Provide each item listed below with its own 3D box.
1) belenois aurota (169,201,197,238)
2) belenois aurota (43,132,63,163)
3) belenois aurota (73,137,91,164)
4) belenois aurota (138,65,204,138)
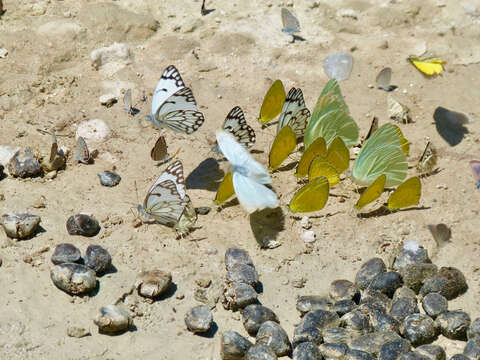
[{"bbox_3d":[-0.866,0.651,11.578,0.355,0.459,0.492,43,39,0],"label":"belenois aurota"},{"bbox_3d":[-3.075,-0.543,11.907,0.211,0.451,0.443,7,79,11],"label":"belenois aurota"},{"bbox_3d":[-2.673,-0.488,12.079,0.245,0.355,0.517,3,53,-23],"label":"belenois aurota"},{"bbox_3d":[-1.160,-1.255,12.212,0.751,0.561,1.030,-29,82,-5],"label":"belenois aurota"}]
